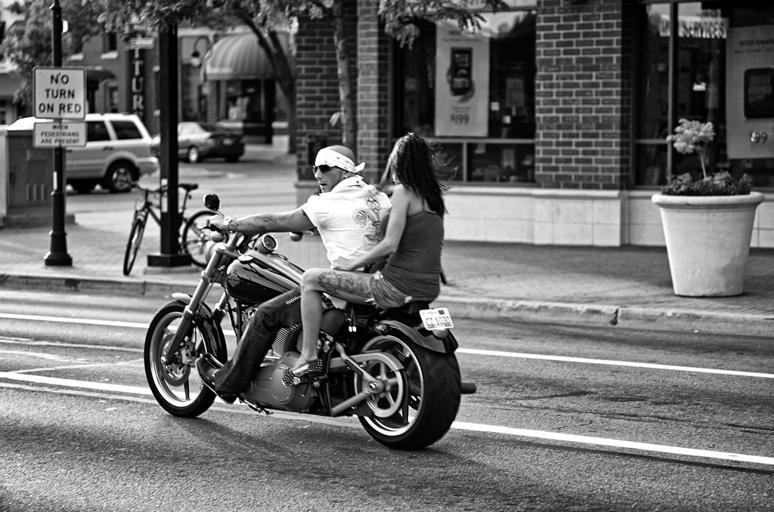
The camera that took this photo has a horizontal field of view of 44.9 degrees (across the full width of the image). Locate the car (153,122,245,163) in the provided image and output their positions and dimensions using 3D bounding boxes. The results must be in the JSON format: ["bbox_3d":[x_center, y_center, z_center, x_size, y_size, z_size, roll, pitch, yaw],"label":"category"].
[{"bbox_3d":[-9.925,-5.758,48.124,2.865,2.053,6.327,-6,9,-43],"label":"car"}]

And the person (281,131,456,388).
[{"bbox_3d":[-0.105,0.046,7.863,1.205,2.100,0.794,5,-5,33],"label":"person"}]

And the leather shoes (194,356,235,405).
[{"bbox_3d":[-1.474,1.060,8.014,0.511,0.213,0.188,47,38,14],"label":"leather shoes"}]

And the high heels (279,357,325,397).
[{"bbox_3d":[-0.689,0.959,7.595,0.390,0.165,0.156,0,-10,-23],"label":"high heels"}]
